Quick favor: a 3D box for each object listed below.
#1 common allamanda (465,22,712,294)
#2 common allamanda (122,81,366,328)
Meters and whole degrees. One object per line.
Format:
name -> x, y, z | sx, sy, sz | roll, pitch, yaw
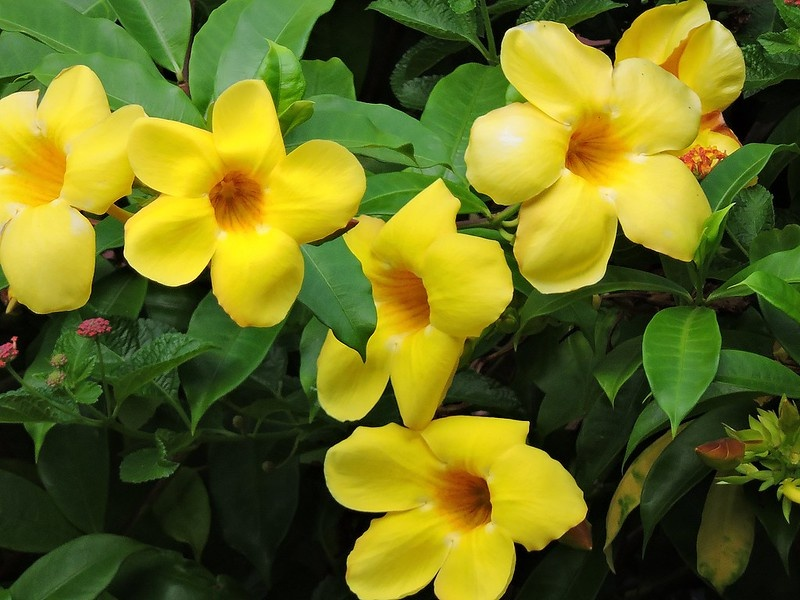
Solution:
common allamanda -> 0.337, -0.265, 1.392 | 0.437, 0.378, 0.321 | -4, 35, 4
common allamanda -> -0.262, -0.161, 1.320 | 0.372, 0.342, 0.263 | 6, 37, 17
